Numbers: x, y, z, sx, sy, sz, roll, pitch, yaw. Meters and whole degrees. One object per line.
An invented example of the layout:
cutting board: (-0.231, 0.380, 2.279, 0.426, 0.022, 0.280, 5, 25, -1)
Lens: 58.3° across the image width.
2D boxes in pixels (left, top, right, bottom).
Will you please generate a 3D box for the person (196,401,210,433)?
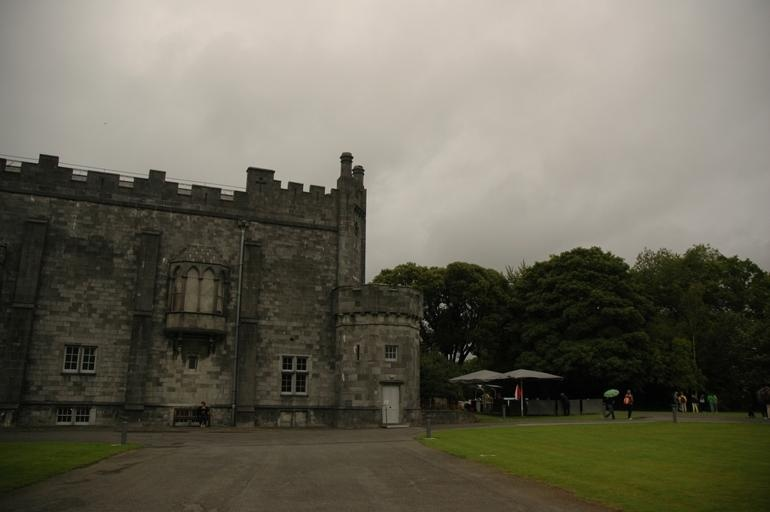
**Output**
person: (-11.843, 10.386, 45.093, 0.863, 1.678, 0.861, 4, -17, -18)
